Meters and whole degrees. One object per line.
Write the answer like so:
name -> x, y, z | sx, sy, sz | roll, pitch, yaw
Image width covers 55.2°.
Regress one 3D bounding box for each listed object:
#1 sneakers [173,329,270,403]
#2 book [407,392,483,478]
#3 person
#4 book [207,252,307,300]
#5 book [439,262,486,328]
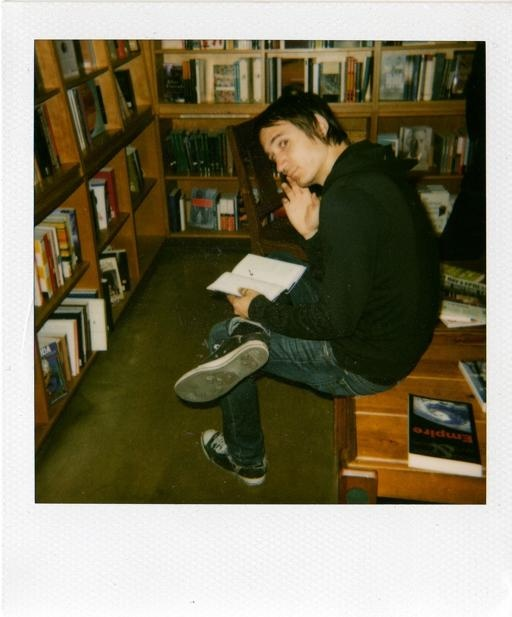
sneakers -> -0.113, 0.205, 1.669 | 0.300, 0.123, 0.207 | -37, 16, 18
book -> 0.515, 0.339, 1.359 | 0.174, 0.034, 0.325 | 4, 18, 19
person -> 0.157, -0.007, 1.502 | 0.716, 1.142, 0.523 | 14, 16, 29
book -> 0.010, -0.117, 1.731 | 0.193, 0.046, 0.234 | 10, 44, 24
book -> 0.793, -0.045, 1.885 | 0.193, 0.205, 0.048 | 3, 7, 9
